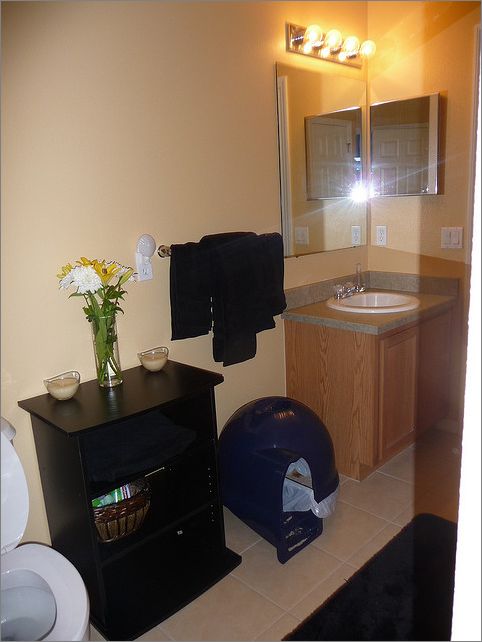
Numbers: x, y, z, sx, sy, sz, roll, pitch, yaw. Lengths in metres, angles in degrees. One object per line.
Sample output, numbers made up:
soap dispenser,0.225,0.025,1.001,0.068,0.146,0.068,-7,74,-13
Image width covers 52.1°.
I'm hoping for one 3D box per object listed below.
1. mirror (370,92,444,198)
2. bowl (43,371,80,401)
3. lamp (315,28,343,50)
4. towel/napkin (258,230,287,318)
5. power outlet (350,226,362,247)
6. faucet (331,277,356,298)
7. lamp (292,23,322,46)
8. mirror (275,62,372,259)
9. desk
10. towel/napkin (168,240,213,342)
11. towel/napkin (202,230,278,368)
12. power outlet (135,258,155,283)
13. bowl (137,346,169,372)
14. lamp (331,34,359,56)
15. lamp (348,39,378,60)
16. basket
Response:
mirror,0.888,-0.902,2.732,0.387,0.546,0.054,-4,6,-10
bowl,-0.560,0.212,1.563,0.114,0.071,0.100,-13,20,-42
lamp,0.425,-1.393,2.433,0.094,0.140,0.044,-2,47,-5
towel/napkin,0.147,-0.195,2.135,0.079,0.311,0.207,9,18,37
power outlet,0.666,-0.499,2.882,0.013,0.152,0.097,7,13,39
faucet,0.558,-0.184,2.705,0.060,0.084,0.205,6,21,27
lamp,0.296,-1.331,2.304,0.171,0.124,0.044,-6,26,-14
mirror,0.411,-0.856,2.554,0.015,1.379,0.893,5,11,39
desk,0.718,0.133,2.667,0.655,1.166,1.239,5,15,36
towel/napkin,-0.190,-0.113,1.885,0.168,0.356,0.122,-2,14,-9
towel/napkin,-0.014,-0.108,1.995,0.103,0.603,0.452,6,15,39
power outlet,-0.366,-0.191,1.851,0.009,0.107,0.070,9,17,30
bowl,-0.320,0.129,1.813,0.077,0.067,0.090,0,10,22
lamp,0.541,-1.419,2.561,0.148,0.041,0.106,21,38,39
lamp,0.647,-1.434,2.603,0.129,0.034,0.091,-12,-37,45
basket,-0.394,0.562,1.602,0.164,0.134,0.198,-11,7,-15
